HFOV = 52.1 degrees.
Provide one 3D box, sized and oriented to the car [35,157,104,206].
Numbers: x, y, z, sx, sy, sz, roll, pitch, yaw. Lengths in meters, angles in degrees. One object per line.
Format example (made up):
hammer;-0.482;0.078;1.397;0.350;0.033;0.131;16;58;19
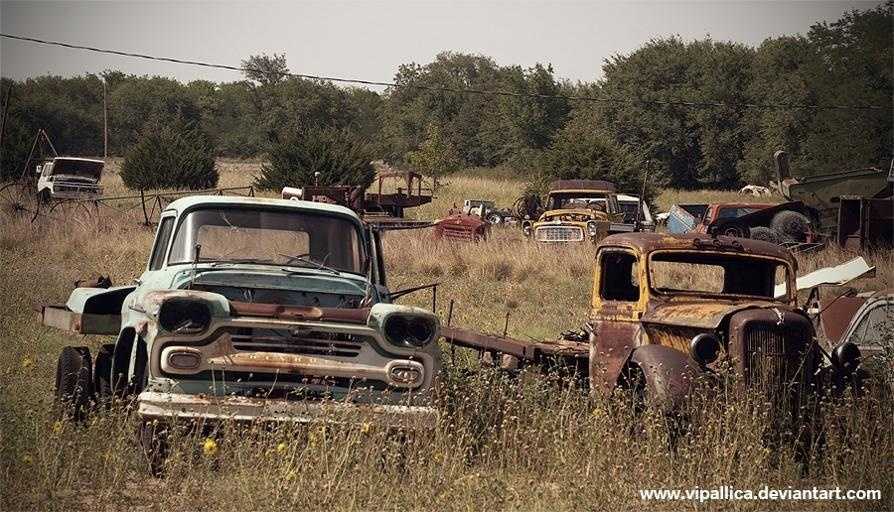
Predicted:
car;-14.544;-2.933;34.966;2.220;2.290;3.718;0;-4;-27
